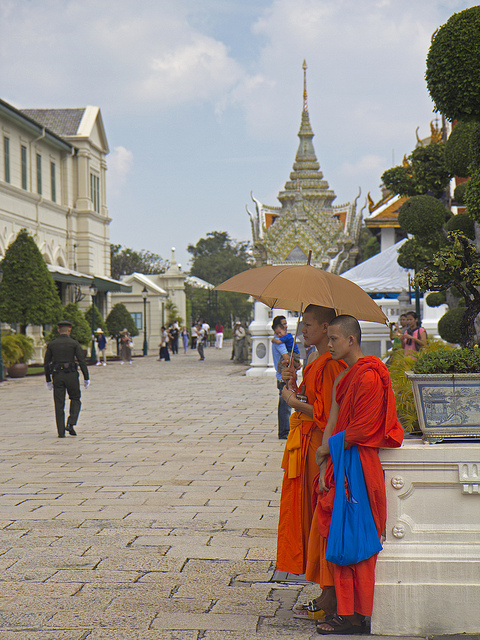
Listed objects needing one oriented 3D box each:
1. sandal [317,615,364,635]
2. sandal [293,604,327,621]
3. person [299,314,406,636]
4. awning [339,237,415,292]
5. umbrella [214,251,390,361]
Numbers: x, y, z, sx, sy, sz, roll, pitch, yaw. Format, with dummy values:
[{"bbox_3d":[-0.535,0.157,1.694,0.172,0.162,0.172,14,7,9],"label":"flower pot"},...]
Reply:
[{"bbox_3d":[0.651,1.885,7.980,0.342,0.106,0.111,3,-6,-3],"label":"sandal"},{"bbox_3d":[0.433,1.837,8.145,0.258,0.086,0.080,3,-4,22],"label":"sandal"},{"bbox_3d":[0.688,0.944,7.968,0.482,1.595,0.574,-1,-1,-36],"label":"person"},{"bbox_3d":[3.144,-1.036,28.033,2.080,0.709,1.893,0,2,4],"label":"awning"},{"bbox_3d":[0.501,-0.124,8.672,0.726,0.330,0.678,5,8,-27],"label":"umbrella"}]
